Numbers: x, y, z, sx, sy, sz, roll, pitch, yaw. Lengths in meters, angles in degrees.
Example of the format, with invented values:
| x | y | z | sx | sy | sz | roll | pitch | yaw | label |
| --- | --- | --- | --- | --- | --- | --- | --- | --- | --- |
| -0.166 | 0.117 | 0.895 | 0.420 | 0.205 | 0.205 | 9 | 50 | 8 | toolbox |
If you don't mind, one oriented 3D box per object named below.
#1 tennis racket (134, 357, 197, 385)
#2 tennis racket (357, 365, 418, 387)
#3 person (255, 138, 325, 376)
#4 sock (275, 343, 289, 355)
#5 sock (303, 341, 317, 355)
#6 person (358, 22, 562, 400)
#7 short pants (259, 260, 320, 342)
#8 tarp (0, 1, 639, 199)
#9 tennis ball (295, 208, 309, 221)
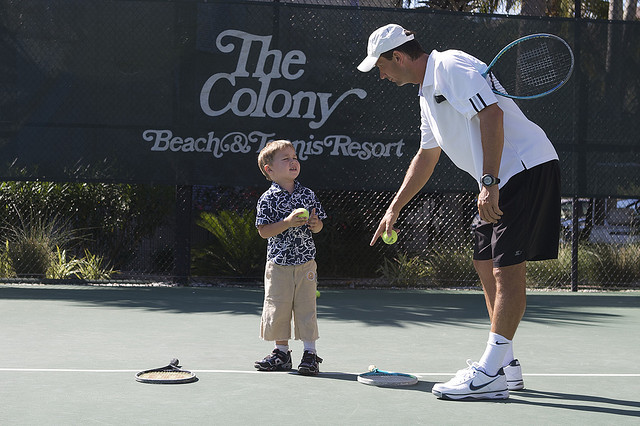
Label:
| x | y | z | sx | sy | sz | roll | pitch | yaw | label |
| --- | --- | --- | --- | --- | --- | --- | --- | --- | --- |
| -1.184 | 1.227 | 5.181 | 0.468 | 0.143 | 0.293 | 2 | -2 | -14 | tennis racket |
| 0.524 | 1.273 | 5.211 | 0.466 | 0.123 | 0.173 | 1 | -2 | 7 | tennis racket |
| -0.251 | 0.339 | 5.622 | 0.568 | 1.950 | 0.475 | 1 | -1 | -1 | person |
| -0.319 | 1.143 | 5.609 | 0.074 | 0.071 | 0.061 | 7 | 1 | 43 | sock |
| -0.082 | 1.114 | 5.551 | 0.095 | 0.101 | 0.157 | 1 | -2 | -1 | sock |
| 1.137 | -0.046 | 5.172 | 1.334 | 2.843 | 0.682 | 0 | -2 | 21 | person |
| -0.253 | 0.729 | 5.632 | 0.465 | 0.680 | 0.223 | 1 | -1 | -2 | short pants |
| -0.267 | -1.591 | 9.191 | 7.895 | 2.547 | 1.505 | 1 | -2 | 8 | tarp |
| -0.142 | -0.002 | 5.436 | 0.088 | 0.083 | 0.081 | 6 | -38 | 5 | tennis ball |
